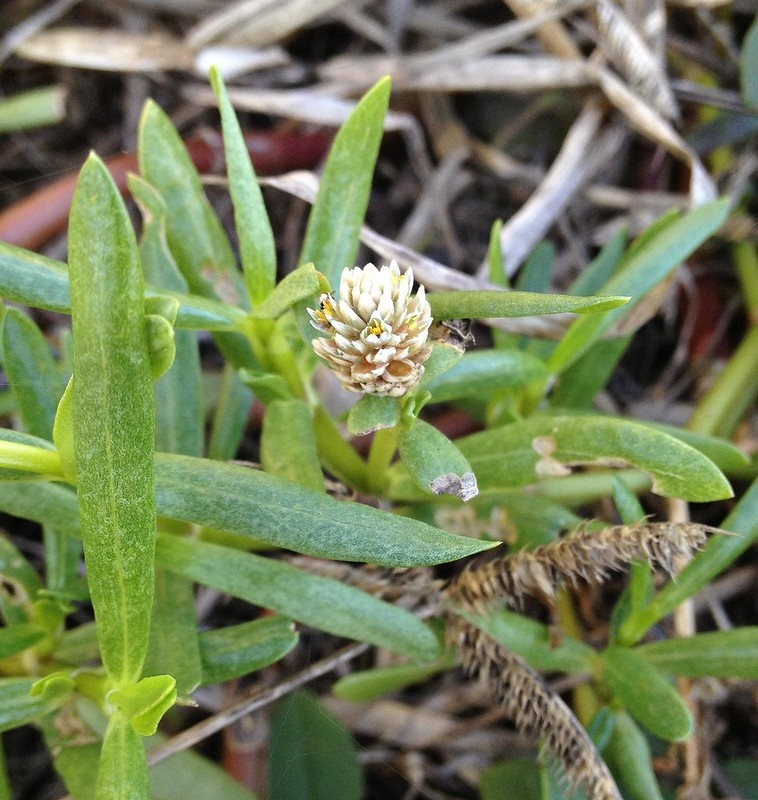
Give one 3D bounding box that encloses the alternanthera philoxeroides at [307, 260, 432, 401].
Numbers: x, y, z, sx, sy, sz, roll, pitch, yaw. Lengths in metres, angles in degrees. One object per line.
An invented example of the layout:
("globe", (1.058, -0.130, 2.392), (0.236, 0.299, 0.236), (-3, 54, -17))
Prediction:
("alternanthera philoxeroides", (-0.005, -0.053, 0.728), (0.084, 0.111, 0.091), (-26, 57, -29))
